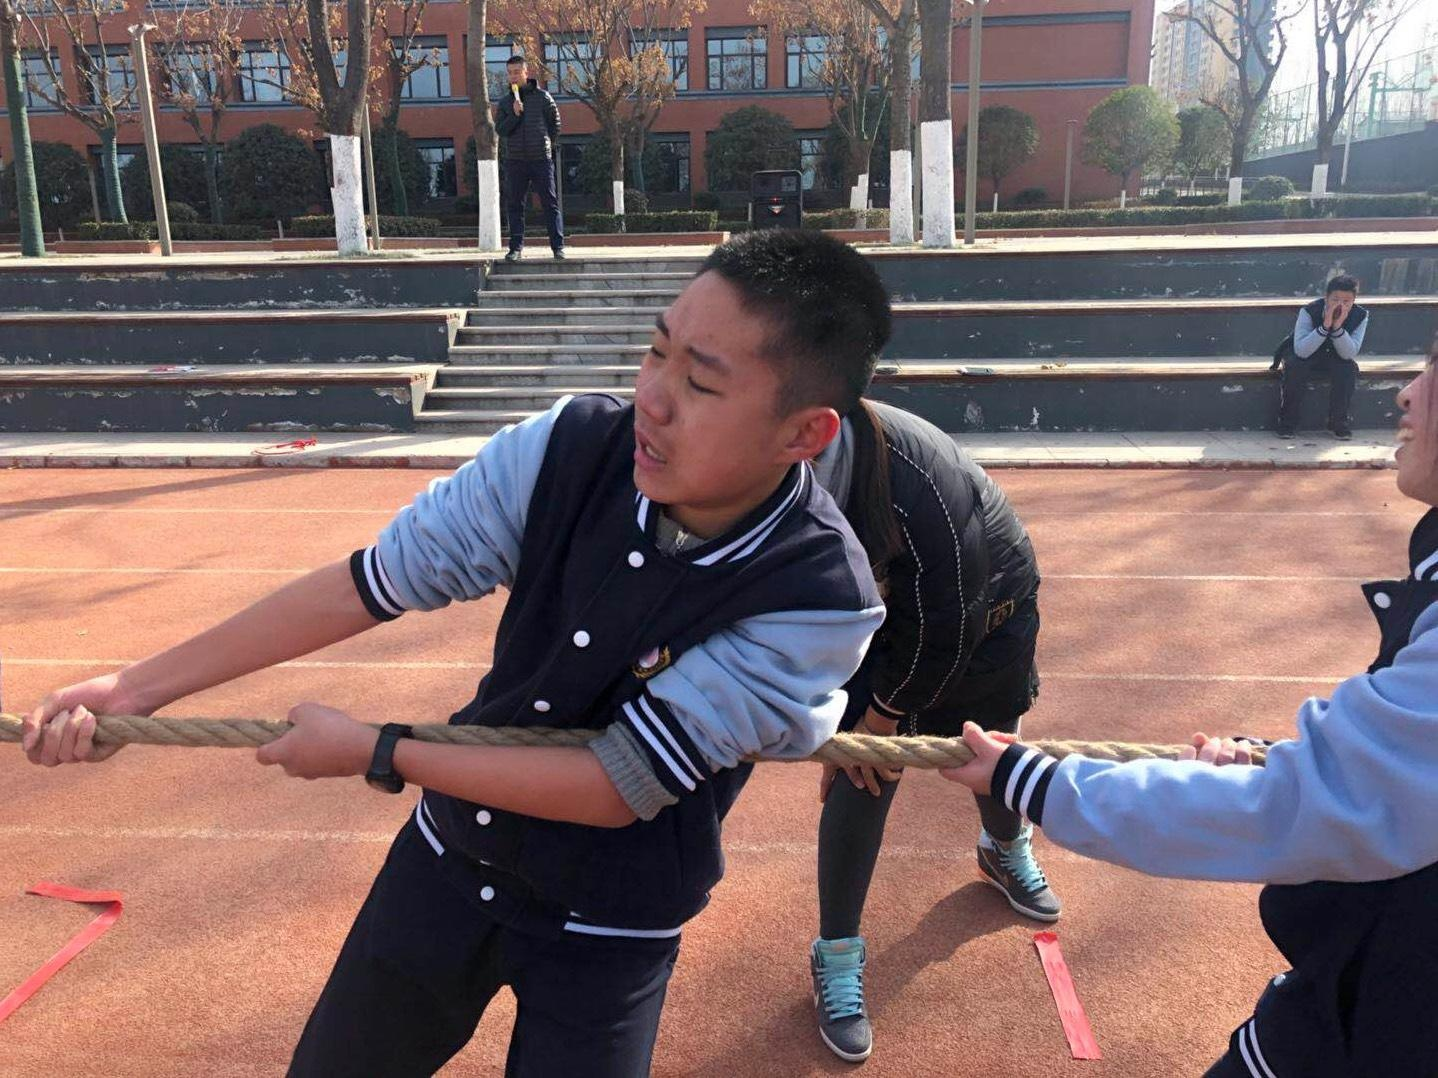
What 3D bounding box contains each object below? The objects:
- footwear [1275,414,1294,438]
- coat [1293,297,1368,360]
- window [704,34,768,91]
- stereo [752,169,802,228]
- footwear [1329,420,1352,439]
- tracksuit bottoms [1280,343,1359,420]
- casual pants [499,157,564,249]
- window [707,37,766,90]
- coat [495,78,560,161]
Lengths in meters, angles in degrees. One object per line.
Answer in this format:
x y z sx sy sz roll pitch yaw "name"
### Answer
5.262 -1.082 12.413 0.180 0.202 0.169 -6 14 -21 "footwear"
5.581 -1.946 12.129 0.667 0.703 0.406 14 15 31 "coat"
0.475 -13.347 36.599 1.271 1.199 0.113 -1 7 -5 "window"
0.718 -4.230 16.225 0.571 0.614 1.418 0 18 1 "stereo"
5.740 -1.031 12.275 0.109 0.121 0.272 -1 7 5 "footwear"
5.598 -1.446 12.419 0.660 0.954 0.691 1 -7 26 "tracksuit bottoms"
-2.208 -3.995 15.804 0.689 1.604 0.373 -3 -30 -11 "casual pants"
0.488 -13.326 36.637 1.206 1.114 0.108 -1 5 -3 "window"
-2.189 -4.925 15.516 0.688 0.870 0.584 -1 9 -3 "coat"
